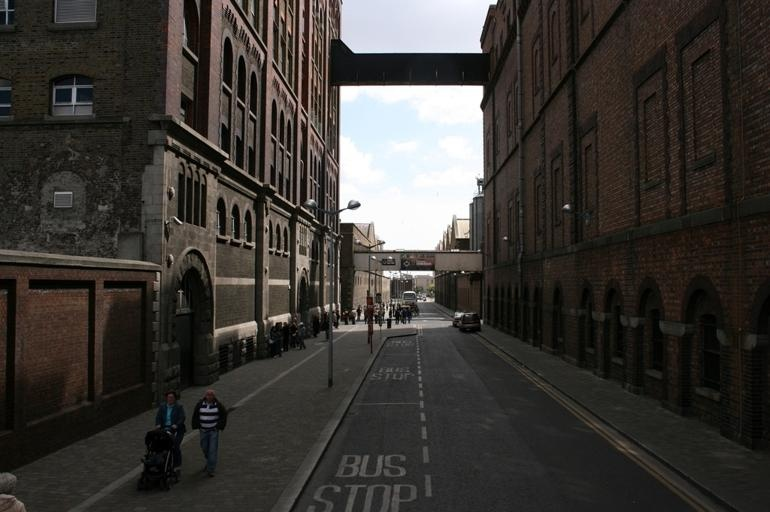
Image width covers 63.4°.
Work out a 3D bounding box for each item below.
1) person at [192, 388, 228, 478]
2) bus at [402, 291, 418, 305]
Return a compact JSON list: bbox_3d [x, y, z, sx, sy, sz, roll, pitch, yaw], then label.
[{"bbox_3d":[-5.008,4.964,17.819,0.884,2.362,0.766,0,3,1],"label":"person"},{"bbox_3d":[4.448,7.532,113.465,2.315,2.699,7.552,-1,-9,2],"label":"bus"}]
